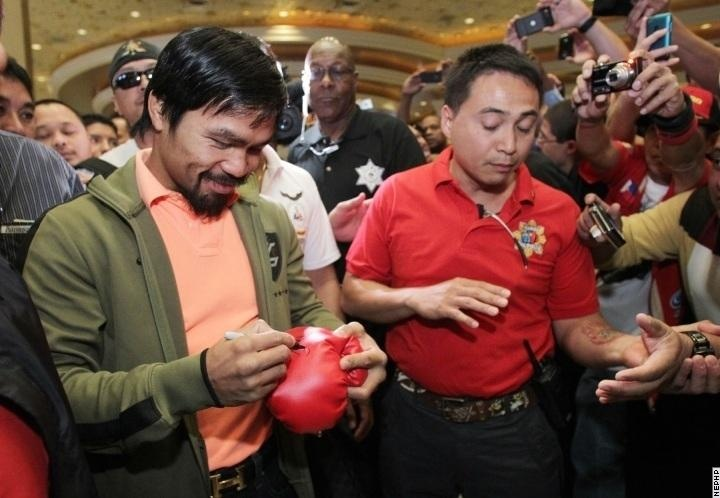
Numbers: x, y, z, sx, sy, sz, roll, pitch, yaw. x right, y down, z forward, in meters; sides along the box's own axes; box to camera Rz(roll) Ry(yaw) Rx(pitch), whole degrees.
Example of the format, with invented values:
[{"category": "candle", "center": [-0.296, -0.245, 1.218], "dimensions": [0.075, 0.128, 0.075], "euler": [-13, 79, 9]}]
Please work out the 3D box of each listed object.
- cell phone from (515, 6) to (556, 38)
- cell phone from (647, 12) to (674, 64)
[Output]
[{"category": "cell phone", "center": [1.090, -1.394, 3.257], "dimensions": [0.232, 0.135, 0.064], "euler": [-19, 1, 11]}, {"category": "cell phone", "center": [1.571, -1.134, 2.782], "dimensions": [0.127, 0.030, 0.238], "euler": [6, -32, 32]}]
